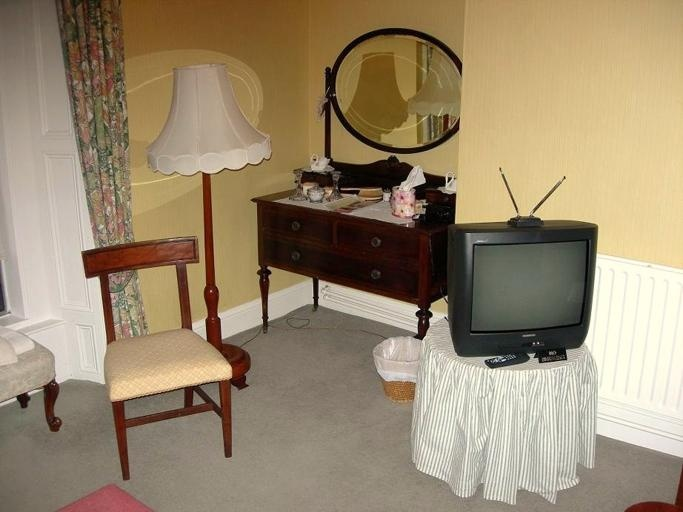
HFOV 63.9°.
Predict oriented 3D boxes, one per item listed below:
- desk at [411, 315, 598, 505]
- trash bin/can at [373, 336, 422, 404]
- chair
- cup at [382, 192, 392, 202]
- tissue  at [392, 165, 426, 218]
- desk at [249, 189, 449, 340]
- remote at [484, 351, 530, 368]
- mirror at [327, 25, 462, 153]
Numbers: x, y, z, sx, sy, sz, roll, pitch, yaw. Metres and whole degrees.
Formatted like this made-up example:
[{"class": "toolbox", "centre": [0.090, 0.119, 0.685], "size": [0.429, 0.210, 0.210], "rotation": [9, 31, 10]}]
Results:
[{"class": "desk", "centre": [0.811, 0.767, 2.754], "size": [0.785, 0.577, 0.797], "rotation": [-9, 21, -20]}, {"class": "trash bin/can", "centre": [0.375, 0.673, 3.417], "size": [0.332, 0.309, 0.362], "rotation": [-9, 20, -19]}, {"class": "chair", "centre": [-0.977, 0.500, 3.019], "size": [0.682, 1.119, 0.783], "rotation": [-8, 17, -26]}, {"class": "cup", "centre": [0.337, -0.428, 4.061], "size": [0.091, 0.094, 0.057], "rotation": [6, 9, 41]}, {"class": "tissue ", "centre": [0.439, -0.402, 3.651], "size": [0.163, 0.315, 0.291], "rotation": [0, 3, -22]}, {"class": "desk", "centre": [0.097, 0.117, 4.074], "size": [1.406, 1.041, 0.571], "rotation": [12, 23, 31]}, {"class": "remote", "centre": [0.787, 0.490, 2.606], "size": [0.171, 0.026, 0.086], "rotation": [-9, 17, -18]}, {"class": "mirror", "centre": [0.424, -1.221, 3.979], "size": [1.008, 0.849, 0.046], "rotation": [13, 21, 26]}]
